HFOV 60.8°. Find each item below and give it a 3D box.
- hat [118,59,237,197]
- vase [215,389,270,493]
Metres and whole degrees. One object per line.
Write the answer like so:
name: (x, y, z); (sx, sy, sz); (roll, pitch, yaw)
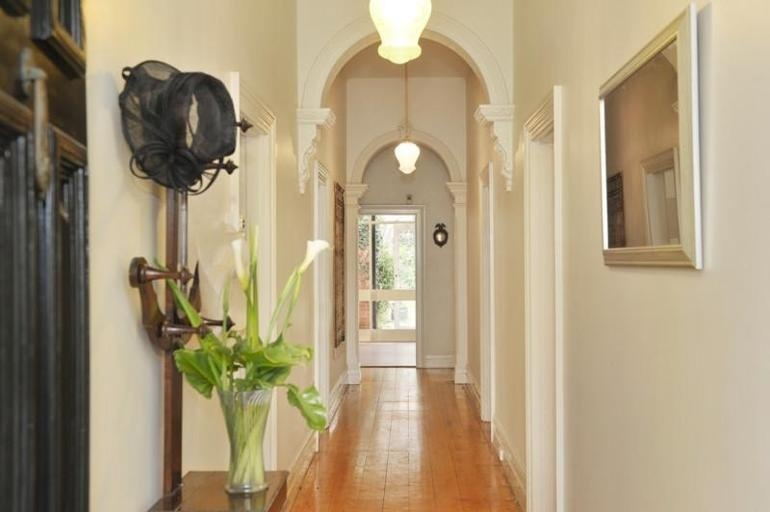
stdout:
hat: (-0.739, -0.471, 2.350); (0.364, 0.448, 0.226); (0, -6, -3)
vase: (-0.513, 0.677, 2.391); (0.185, 0.381, 0.166); (1, -6, -14)
